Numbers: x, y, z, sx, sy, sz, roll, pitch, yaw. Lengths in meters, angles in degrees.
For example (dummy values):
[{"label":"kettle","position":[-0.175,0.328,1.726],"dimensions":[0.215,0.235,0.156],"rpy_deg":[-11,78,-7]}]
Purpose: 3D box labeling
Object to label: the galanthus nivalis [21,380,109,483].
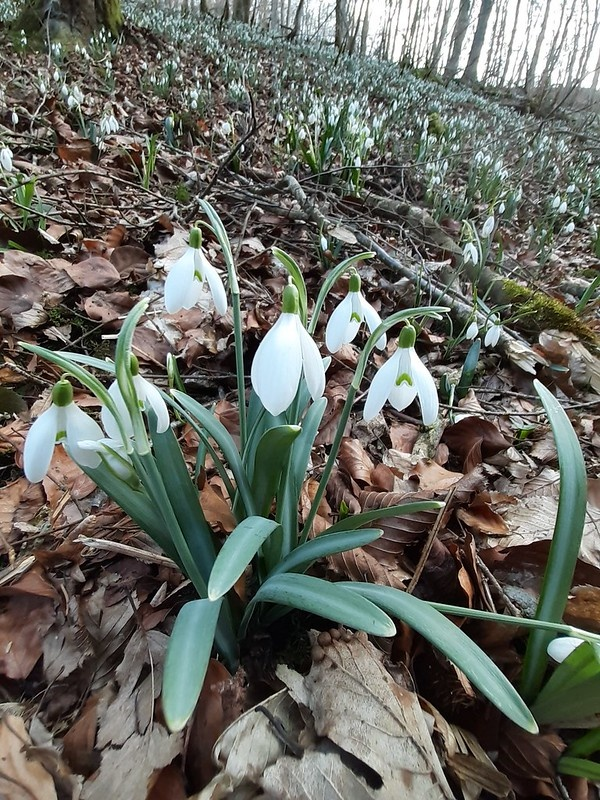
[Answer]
[{"label":"galanthus nivalis","position":[-0.416,0.066,0.953],"dimensions":[0.140,0.213,0.098],"rpy_deg":[-3,32,-31]}]
